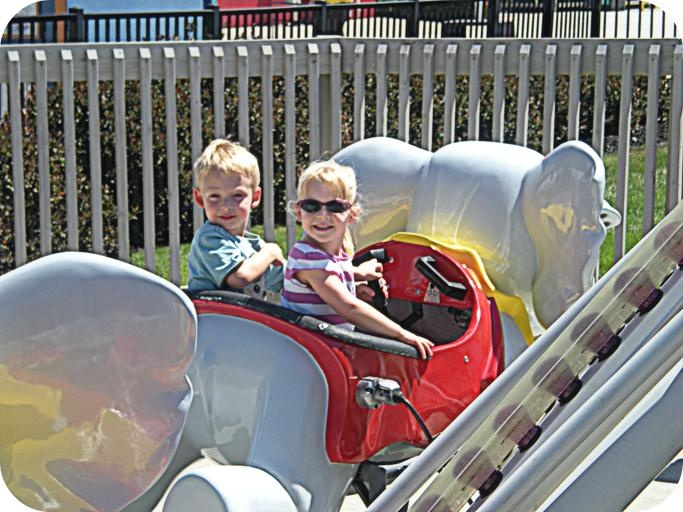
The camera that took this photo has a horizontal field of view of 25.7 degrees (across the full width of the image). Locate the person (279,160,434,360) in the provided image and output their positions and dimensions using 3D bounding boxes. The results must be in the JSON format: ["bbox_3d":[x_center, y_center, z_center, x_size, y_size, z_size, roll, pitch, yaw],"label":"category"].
[{"bbox_3d":[-0.006,0.092,7.320,0.518,1.112,0.689,0,28,-3],"label":"person"}]
